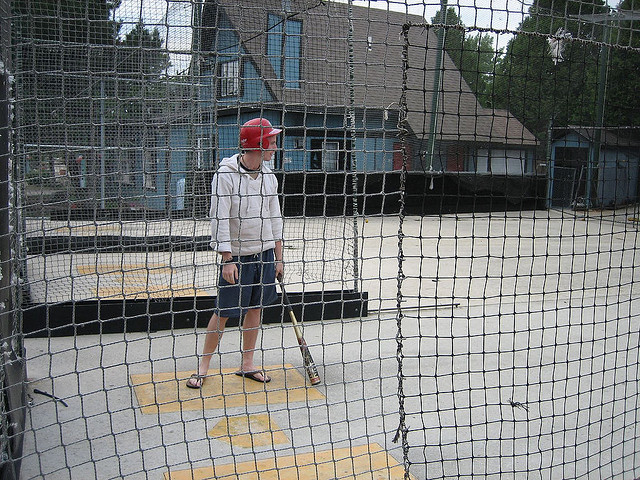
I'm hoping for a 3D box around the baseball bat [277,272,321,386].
[{"bbox_3d":[-0.206,0.882,8.301,0.109,1.040,0.073,-16,-5,-12],"label":"baseball bat"}]

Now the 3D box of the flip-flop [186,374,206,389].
[{"bbox_3d":[-1.070,1.205,7.420,0.159,0.109,0.427,3,-5,-4],"label":"flip-flop"}]

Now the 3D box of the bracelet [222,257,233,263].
[{"bbox_3d":[-0.776,0.157,7.302,0.051,0.042,0.224,1,6,12],"label":"bracelet"}]

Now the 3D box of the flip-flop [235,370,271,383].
[{"bbox_3d":[-0.596,1.192,7.653,0.306,0.079,0.113,4,6,27],"label":"flip-flop"}]

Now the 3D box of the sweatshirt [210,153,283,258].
[{"bbox_3d":[-0.627,-0.276,7.306,0.799,0.999,0.456,-9,18,-42],"label":"sweatshirt"}]

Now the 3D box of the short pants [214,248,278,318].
[{"bbox_3d":[-0.635,0.347,7.346,0.603,0.712,0.292,-4,6,-41],"label":"short pants"}]
